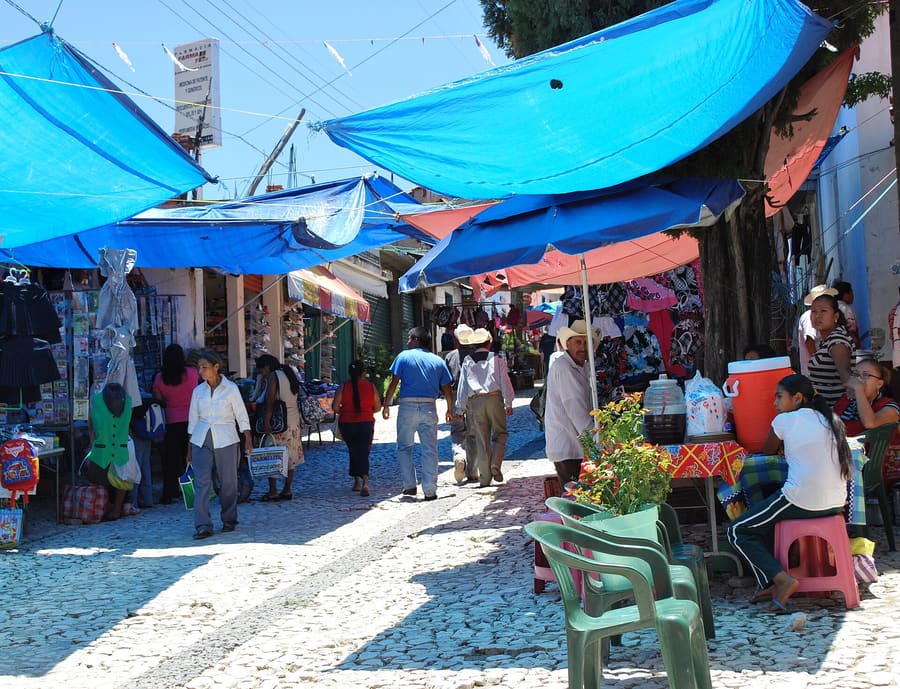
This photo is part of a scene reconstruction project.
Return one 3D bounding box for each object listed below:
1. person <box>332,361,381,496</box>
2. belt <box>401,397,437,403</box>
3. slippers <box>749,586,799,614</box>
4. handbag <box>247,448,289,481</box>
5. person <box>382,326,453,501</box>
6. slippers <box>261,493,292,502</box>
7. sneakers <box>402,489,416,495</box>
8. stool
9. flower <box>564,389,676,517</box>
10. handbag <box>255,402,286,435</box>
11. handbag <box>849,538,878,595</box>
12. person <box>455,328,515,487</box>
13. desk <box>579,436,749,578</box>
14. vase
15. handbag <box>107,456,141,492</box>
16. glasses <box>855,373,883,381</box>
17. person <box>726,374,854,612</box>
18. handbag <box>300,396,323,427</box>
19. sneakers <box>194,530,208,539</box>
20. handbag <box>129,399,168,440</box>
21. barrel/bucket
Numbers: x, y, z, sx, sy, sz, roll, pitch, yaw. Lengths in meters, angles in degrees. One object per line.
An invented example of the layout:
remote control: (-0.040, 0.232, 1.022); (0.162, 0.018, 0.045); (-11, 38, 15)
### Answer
person: (-1.218, 1.099, 11.347); (0.572, 1.317, 0.537); (-2, 1, -6)
belt: (-0.389, 0.686, 10.676); (0.443, 0.081, 0.132); (-3, 1, -13)
slippers: (2.217, 1.750, 5.950); (0.145, 0.141, 0.393); (8, -25, -9)
handbag: (-2.218, 1.466, 10.562); (0.396, 0.448, 0.316); (2, -14, -3)
person: (-0.423, 0.880, 11.305); (0.870, 1.487, 1.575); (-3, 1, -5)
slippers: (-2.243, 1.984, 11.208); (0.382, 0.151, 0.142); (4, -7, -14)
sneakers: (-0.493, 1.839, 10.783); (0.113, 0.079, 0.073); (4, -7, -10)
stool: (2.550, 1.491, 6.125); (0.553, 0.607, 0.590); (-7, -5, 24)
flower: (1.143, 0.621, 5.768); (0.677, 1.077, 0.785); (-1, 0, -8)
handbag: (-2.305, 0.964, 11.206); (0.396, 0.433, 0.153); (2, 3, 11)
handbag: (3.030, 1.623, 6.351); (0.260, 0.336, 0.106); (-7, -16, 23)
person: (0.450, 0.963, 11.544); (0.753, 1.267, 0.585); (-2, 1, -1)
desk: (1.658, 1.266, 6.553); (0.871, 1.070, 0.966); (-3, -15, 6)
vase: (0.909, 1.025, 4.668); (0.324, 0.314, 0.283); (-1, -10, 15)
handbag: (-3.738, 1.475, 10.111); (0.415, 0.586, 0.293); (2, -7, -33)
glasses: (3.492, 0.266, 7.163); (0.239, 0.074, 0.075); (-3, 1, -13)
person: (2.374, 0.989, 6.016); (0.790, 1.545, 0.443); (-3, 1, -20)
handbag: (-2.470, 1.159, 14.938); (0.174, 0.535, 0.354); (-8, -3, 43)
sneakers: (-2.564, 1.985, 8.988); (0.171, 0.081, 0.066); (3, 0, -5)
handbag: (-3.761, 0.928, 10.721); (0.346, 0.679, 0.509); (-6, -6, 28)
barrel/bucket: (2.165, 0.466, 6.516); (0.617, 0.865, 0.586); (0, -5, 0)
